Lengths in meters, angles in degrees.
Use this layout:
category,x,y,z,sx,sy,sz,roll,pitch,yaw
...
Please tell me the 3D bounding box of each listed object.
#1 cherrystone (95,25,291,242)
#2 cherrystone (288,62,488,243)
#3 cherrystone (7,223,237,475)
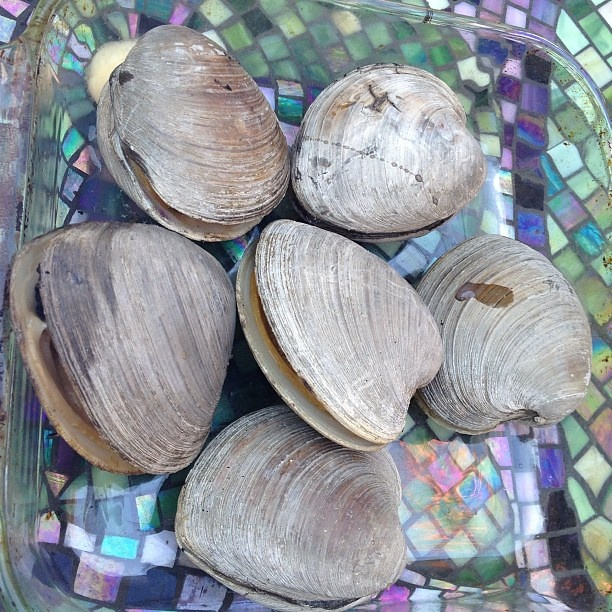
category,x,y,z,sx,sy,sz,roll,pitch,yaw
cherrystone,-0.154,-0.230,0.897,0.209,0.164,0.251,-16,72,-9
cherrystone,0.108,-0.213,0.965,0.270,0.092,0.262,26,85,-2
cherrystone,-0.249,0.053,0.867,0.276,0.184,0.320,10,70,0
